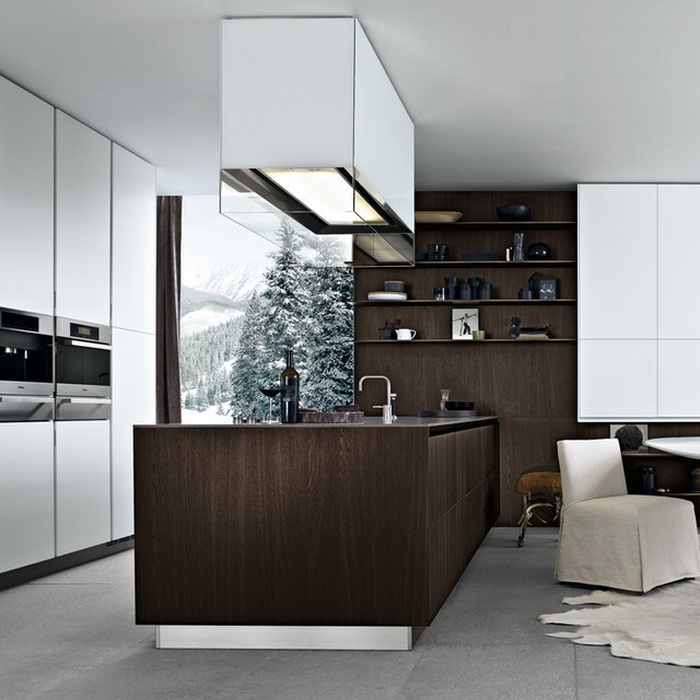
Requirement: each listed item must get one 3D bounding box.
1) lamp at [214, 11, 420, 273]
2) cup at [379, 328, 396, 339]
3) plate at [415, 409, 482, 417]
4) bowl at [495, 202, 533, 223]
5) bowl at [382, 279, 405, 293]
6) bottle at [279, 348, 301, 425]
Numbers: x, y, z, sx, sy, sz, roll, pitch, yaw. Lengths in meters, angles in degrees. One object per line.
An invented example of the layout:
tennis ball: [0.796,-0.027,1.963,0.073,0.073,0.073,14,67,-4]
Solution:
lamp: [-0.159,-1.154,3.904,0.723,0.934,1.294,-1,-2,19]
cup: [0.335,-0.180,6.481,0.145,0.135,0.212,0,-2,1]
plate: [0.773,0.509,5.791,0.398,0.055,0.799,-2,-3,32]
bowl: [1.514,-1.277,6.382,0.364,0.168,0.175,0,-2,-16]
bowl: [0.414,-0.622,6.517,0.200,0.136,0.208,0,-2,0]
bottle: [-0.279,0.149,3.213,0.085,0.333,0.413,0,-2,-5]
